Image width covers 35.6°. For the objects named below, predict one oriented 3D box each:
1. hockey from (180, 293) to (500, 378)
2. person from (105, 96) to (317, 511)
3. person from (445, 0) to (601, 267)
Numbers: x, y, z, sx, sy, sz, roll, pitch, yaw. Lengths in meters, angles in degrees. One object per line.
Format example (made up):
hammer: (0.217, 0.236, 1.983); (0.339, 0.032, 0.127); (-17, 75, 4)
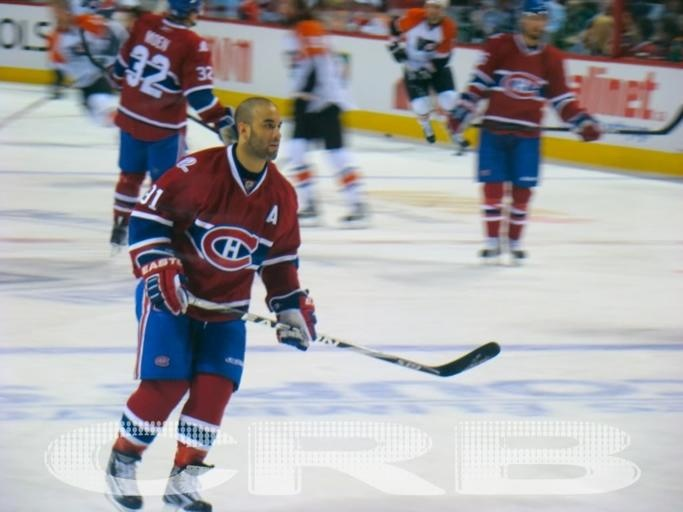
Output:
hockey: (-0.014, 0.363, 4.665); (1.332, 0.084, 0.136); (14, 49, -23)
person: (-0.504, 0.163, 3.955); (0.672, 1.497, 0.703); (11, 16, 16)
person: (1.026, -0.710, 6.129); (0.834, 1.503, 0.277); (6, 16, 2)
